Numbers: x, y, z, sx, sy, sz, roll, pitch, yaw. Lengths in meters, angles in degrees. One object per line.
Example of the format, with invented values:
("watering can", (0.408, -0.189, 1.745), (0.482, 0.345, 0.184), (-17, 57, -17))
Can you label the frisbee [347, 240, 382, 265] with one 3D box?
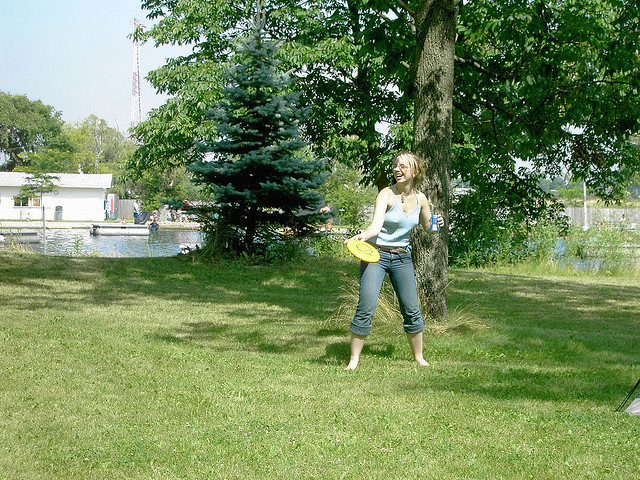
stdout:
("frisbee", (0.579, 0.138, 10.678), (0.354, 0.279, 0.562), (7, 8, 36))

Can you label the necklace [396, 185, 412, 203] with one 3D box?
("necklace", (1.092, -0.606, 10.898), (0.252, 0.302, 0.024), (-3, -34, -6))

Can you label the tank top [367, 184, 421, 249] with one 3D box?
("tank top", (0.984, -0.317, 10.934), (0.707, 0.848, 0.260), (2, 7, -4))
